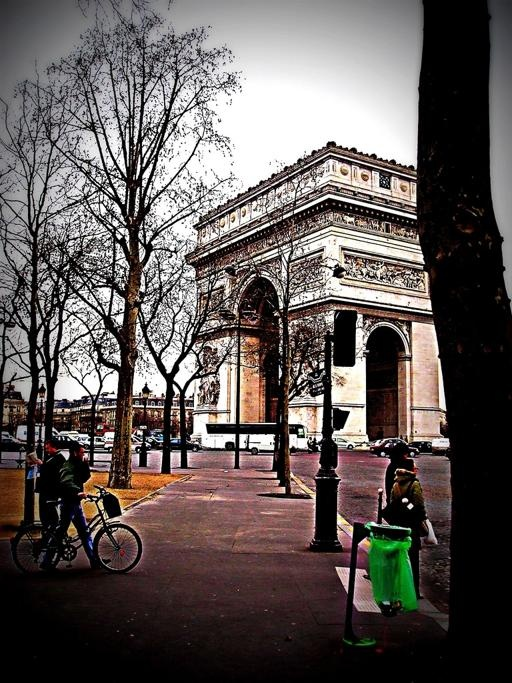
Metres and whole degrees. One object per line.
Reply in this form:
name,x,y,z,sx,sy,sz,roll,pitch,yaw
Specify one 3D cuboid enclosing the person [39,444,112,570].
person,-2.411,2.198,7.641,0.676,1.660,0.559,1,-7,5
